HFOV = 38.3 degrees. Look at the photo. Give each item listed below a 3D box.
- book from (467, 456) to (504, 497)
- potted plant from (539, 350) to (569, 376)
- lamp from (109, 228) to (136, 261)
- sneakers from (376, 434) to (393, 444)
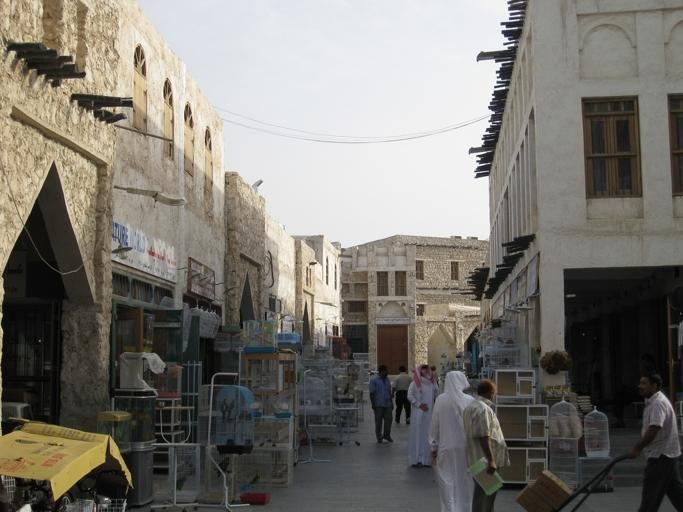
[{"bbox_3d":[2.027,3.173,13.969,0.164,0.405,0.546,-15,-62,52],"label":"book"},{"bbox_3d":[4.203,2.113,19.370,0.446,0.477,0.438,-3,-4,20],"label":"potted plant"},{"bbox_3d":[-4.231,-0.305,19.015,0.463,0.568,0.488,15,29,37],"label":"lamp"},{"bbox_3d":[1.081,4.569,24.385,0.465,0.239,0.170,2,1,-20],"label":"sneakers"}]
